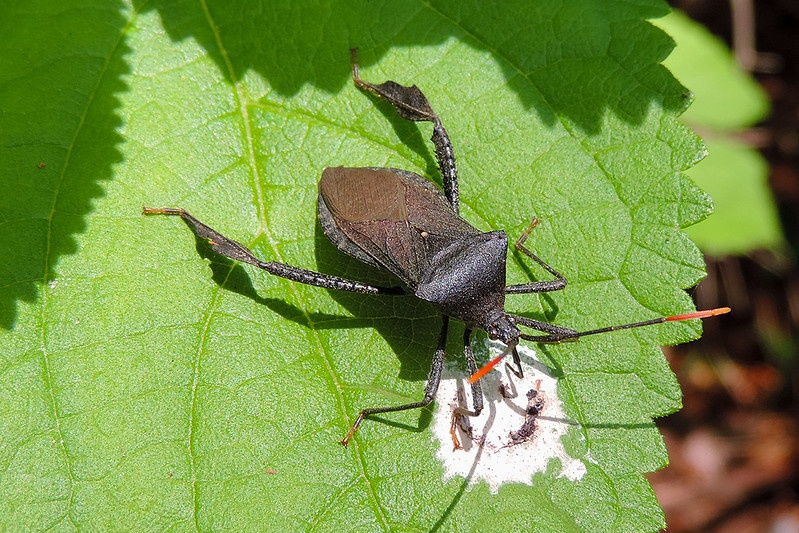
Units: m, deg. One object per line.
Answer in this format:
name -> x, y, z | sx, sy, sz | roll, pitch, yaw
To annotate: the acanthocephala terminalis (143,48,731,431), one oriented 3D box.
acanthocephala terminalis -> 0.108, -0.107, 5.381 | 2.379, 0.896, 1.741 | 37, 72, 12
